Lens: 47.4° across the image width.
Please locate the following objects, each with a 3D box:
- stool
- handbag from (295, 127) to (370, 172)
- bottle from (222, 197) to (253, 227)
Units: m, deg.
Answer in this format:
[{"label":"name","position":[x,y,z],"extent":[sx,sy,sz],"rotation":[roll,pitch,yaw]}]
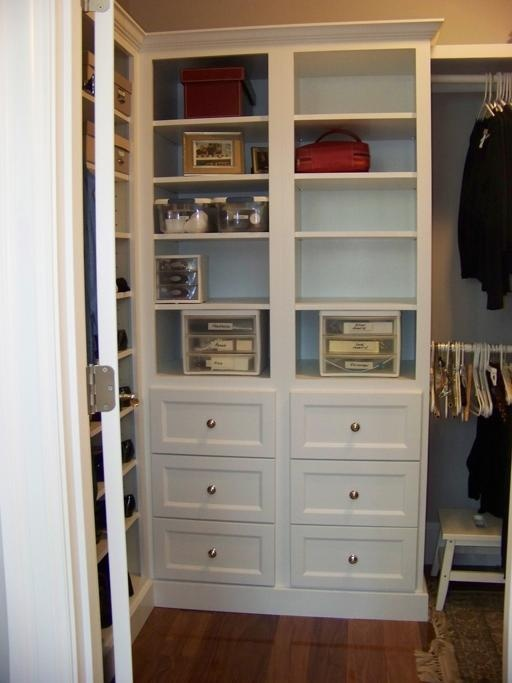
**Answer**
[{"label":"stool","position":[0.863,0.813,2.404],"extent":[0.253,0.354,0.369],"rotation":[2,4,16]},{"label":"handbag","position":[0.287,-0.719,2.183],"extent":[0.190,0.140,0.092],"rotation":[0,47,2]},{"label":"bottle","position":[-0.069,-0.480,2.181],"extent":[0.106,0.134,0.096],"rotation":[1,5,0]}]
